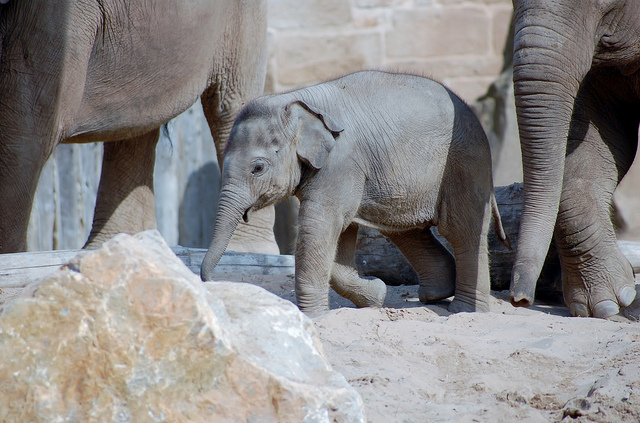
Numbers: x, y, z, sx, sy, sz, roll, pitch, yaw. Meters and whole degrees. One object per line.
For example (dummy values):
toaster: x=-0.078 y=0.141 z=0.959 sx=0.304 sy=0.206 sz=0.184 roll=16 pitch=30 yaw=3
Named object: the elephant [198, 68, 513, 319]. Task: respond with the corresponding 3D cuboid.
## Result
elephant: x=0.215 y=-0.088 z=9.589 sx=1.853 sy=1.724 sz=0.831 roll=-1 pitch=13 yaw=-7
